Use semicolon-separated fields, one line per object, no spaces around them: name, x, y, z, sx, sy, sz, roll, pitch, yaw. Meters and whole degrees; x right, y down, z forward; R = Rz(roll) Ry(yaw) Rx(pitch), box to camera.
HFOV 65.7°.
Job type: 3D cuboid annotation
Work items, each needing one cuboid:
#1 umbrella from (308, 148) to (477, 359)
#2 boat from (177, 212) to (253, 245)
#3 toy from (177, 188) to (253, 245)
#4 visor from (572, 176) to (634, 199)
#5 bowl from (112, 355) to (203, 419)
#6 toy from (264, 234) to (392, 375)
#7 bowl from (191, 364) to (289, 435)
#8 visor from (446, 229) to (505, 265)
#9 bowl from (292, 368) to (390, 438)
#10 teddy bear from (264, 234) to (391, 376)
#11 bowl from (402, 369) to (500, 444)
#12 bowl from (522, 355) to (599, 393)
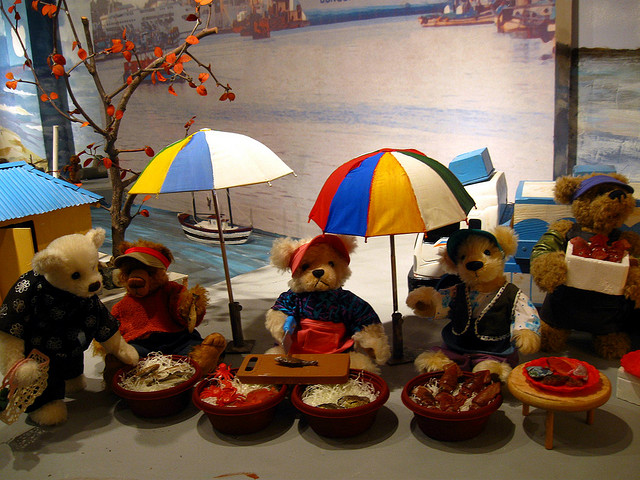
umbrella;0.429;-0.298;2.912;1.002;0.441;0.565;-4;19;-2
boat;-1.448;-0.153;6.603;1.377;0.358;0.398;7;22;21
toy;-1.391;-0.341;6.806;1.053;0.760;1.048;8;14;28
visor;1.837;-0.349;3.222;0.341;0.141;0.150;4;21;22
bowl;-0.980;0.875;2.987;0.500;0.142;0.413;-1;10;-8
toy;0.088;0.420;3.349;0.876;0.905;0.696;10;26;18
bowl;-0.452;0.940;2.886;0.570;0.144;0.471;0;9;5
visor;0.971;0.059;3.094;0.233;0.268;0.150;-25;17;29
bowl;0.135;0.953;2.747;0.558;0.140;0.464;-3;-1;8
teddy bear;0.015;0.420;3.262;0.998;0.836;0.547;5;-4;-23
bowl;0.721;0.932;2.722;0.495;0.275;0.369;4;20;22
bowl;1.252;0.703;2.609;0.343;0.068;0.295;-10;18;-23
